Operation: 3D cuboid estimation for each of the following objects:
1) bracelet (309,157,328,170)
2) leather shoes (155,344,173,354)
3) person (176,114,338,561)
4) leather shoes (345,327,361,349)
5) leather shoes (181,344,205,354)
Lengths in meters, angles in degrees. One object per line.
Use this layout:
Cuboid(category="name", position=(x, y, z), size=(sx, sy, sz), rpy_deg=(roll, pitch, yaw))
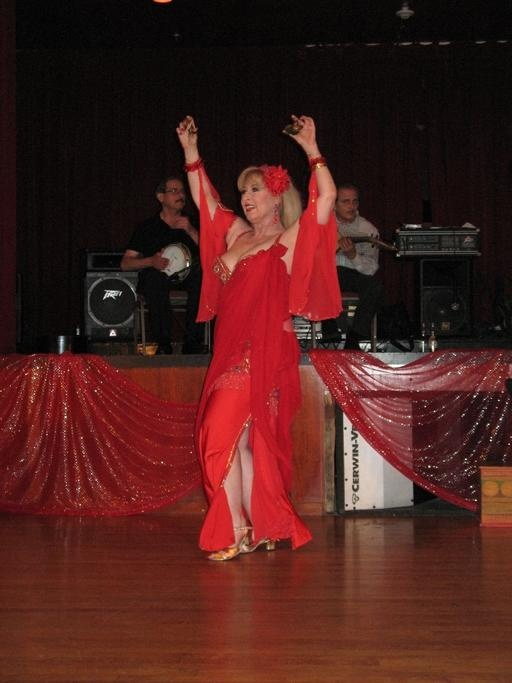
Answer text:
Cuboid(category="bracelet", position=(0.211, -0.588, 2.452), size=(0.039, 0.023, 0.047), rpy_deg=(0, 0, 0))
Cuboid(category="leather shoes", position=(-0.516, 0.046, 4.228), size=(0.121, 0.061, 0.083), rpy_deg=(-5, -2, -20))
Cuboid(category="person", position=(-0.002, -0.034, 2.576), size=(0.575, 1.520, 0.504), rpy_deg=(0, -2, 13))
Cuboid(category="leather shoes", position=(0.540, -0.017, 4.097), size=(0.044, 0.052, 0.172), rpy_deg=(26, 13, 0))
Cuboid(category="leather shoes", position=(-0.346, 0.038, 4.195), size=(0.058, 0.049, 0.175), rpy_deg=(-7, 6, -42))
